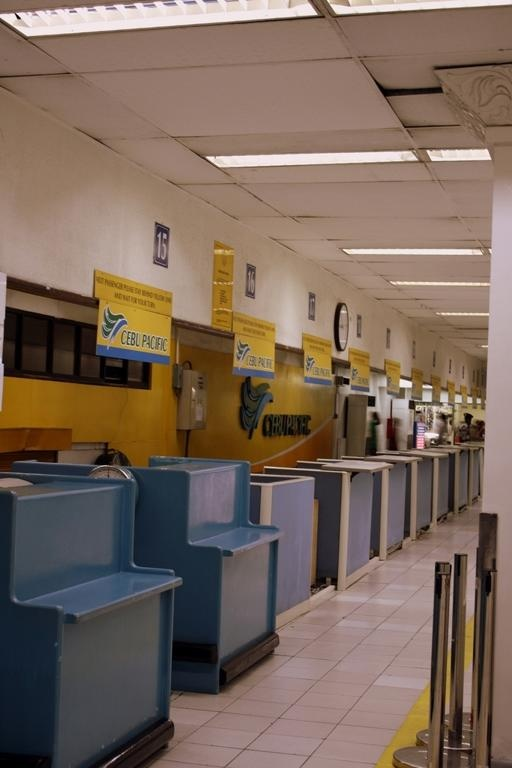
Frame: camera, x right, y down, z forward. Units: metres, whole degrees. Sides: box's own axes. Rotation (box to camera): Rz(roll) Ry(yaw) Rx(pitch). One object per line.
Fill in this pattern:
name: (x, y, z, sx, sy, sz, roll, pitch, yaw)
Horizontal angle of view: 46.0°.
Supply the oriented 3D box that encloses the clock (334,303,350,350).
clock: (1.451, -0.950, 10.154, 0.081, 0.787, 0.759, 2, 4, 21)
